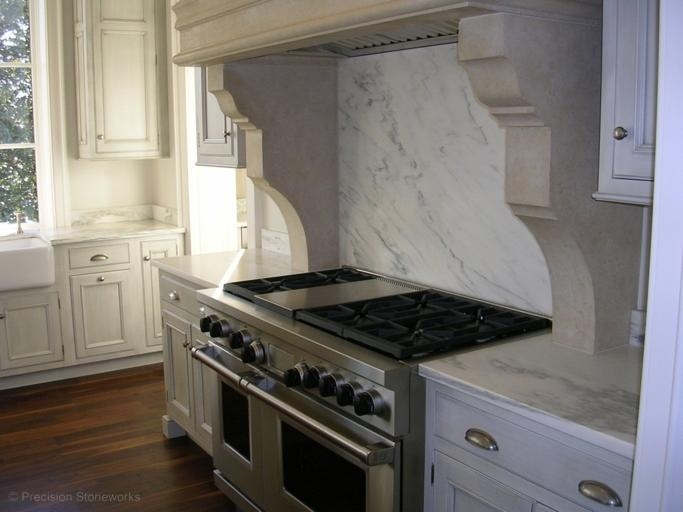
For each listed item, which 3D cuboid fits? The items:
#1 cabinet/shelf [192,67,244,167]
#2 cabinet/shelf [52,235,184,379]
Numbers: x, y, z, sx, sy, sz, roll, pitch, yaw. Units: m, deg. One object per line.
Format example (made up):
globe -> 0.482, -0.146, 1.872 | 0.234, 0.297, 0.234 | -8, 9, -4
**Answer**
cabinet/shelf -> -0.706, -0.768, 3.109 | 0.186, 0.535, 0.621 | -6, 13, -26
cabinet/shelf -> -1.632, 0.351, 3.983 | 0.978, 0.901, 0.387 | -5, 9, -32
